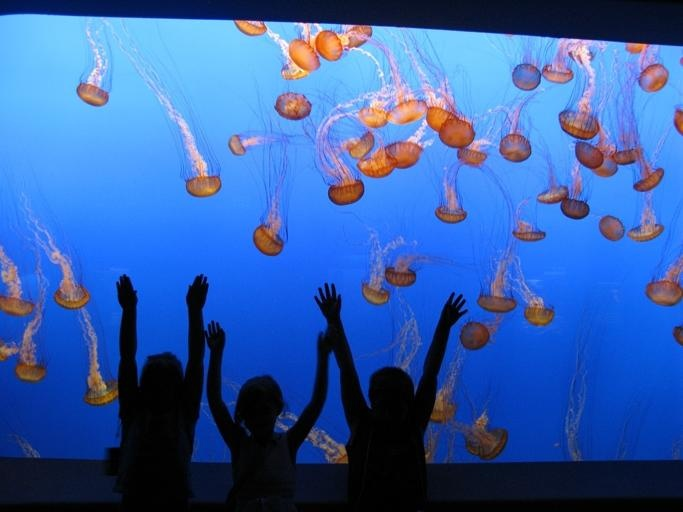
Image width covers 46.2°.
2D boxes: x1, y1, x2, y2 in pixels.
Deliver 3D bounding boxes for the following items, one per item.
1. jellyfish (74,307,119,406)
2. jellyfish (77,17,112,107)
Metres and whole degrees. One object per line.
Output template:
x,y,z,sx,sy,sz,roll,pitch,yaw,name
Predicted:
-1.473,0.639,4.848,0.141,0.718,0.174,0,5,0,jellyfish
-1.500,-1.227,5.123,0.162,0.169,0.491,12,-81,-33,jellyfish
